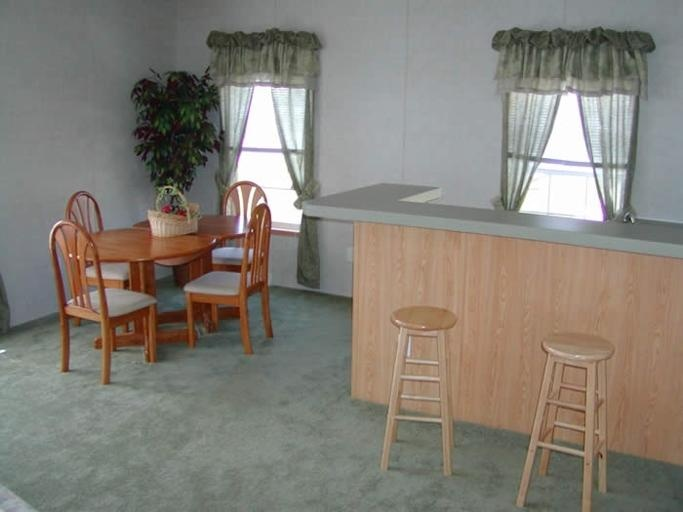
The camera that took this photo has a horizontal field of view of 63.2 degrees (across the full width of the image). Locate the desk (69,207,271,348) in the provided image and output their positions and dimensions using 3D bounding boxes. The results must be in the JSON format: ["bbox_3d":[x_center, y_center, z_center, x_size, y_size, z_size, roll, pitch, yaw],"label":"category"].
[{"bbox_3d":[-1.312,0.096,4.642,1.305,1.227,1.220,6,11,9],"label":"desk"}]

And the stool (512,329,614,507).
[{"bbox_3d":[1.271,0.866,3.059,0.431,0.876,0.712,6,14,28],"label":"stool"}]

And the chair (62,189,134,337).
[{"bbox_3d":[-2.015,0.035,4.850,0.595,1.143,0.667,8,11,18],"label":"chair"}]

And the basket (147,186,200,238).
[{"bbox_3d":[-1.449,-0.395,4.726,0.332,0.418,0.450,9,16,16],"label":"basket"}]

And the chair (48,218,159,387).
[{"bbox_3d":[-1.989,0.224,4.396,0.693,1.177,1.221,-12,17,-43],"label":"chair"}]

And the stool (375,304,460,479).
[{"bbox_3d":[0.476,0.737,3.354,0.430,0.895,0.694,2,12,10],"label":"stool"}]

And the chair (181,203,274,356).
[{"bbox_3d":[-0.939,0.141,4.643,0.670,1.218,0.669,8,12,28],"label":"chair"}]
